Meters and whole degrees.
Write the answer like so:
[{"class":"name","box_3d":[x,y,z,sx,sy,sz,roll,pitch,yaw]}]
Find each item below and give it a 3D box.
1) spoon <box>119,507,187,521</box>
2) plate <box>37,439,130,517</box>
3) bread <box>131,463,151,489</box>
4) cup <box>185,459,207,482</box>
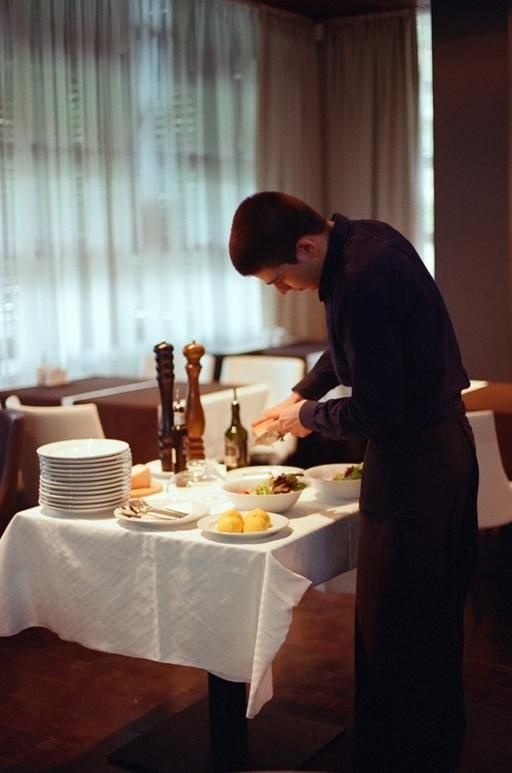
[{"class":"spoon","box_3d":[-0.192,0.235,1.275,0.148,0.014,0.062,-2,1,12]},{"class":"plate","box_3d":[-0.350,0.174,1.392,0.141,0.096,0.153,0,7,6]},{"class":"bread","box_3d":[-0.263,0.203,1.581,0.040,0.034,0.043,-8,21,-6]},{"class":"cup","box_3d":[-0.135,0.196,1.606,0.042,0.053,0.045,1,10,0]}]
